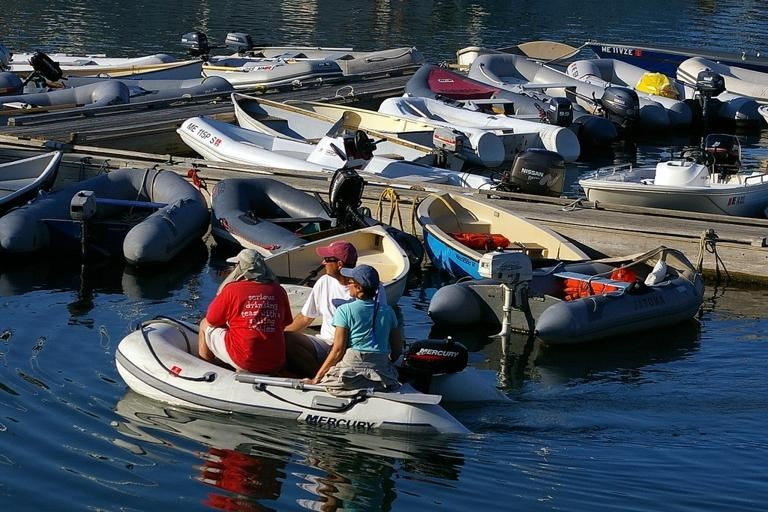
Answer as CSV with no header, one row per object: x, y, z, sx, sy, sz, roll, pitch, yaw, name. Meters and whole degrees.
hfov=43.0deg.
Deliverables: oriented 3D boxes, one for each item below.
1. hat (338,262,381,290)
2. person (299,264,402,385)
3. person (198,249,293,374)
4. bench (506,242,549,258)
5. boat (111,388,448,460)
-0.211,0.216,10.368,0.397,0.270,0.386,-3,20,-6,hat
-0.296,0.789,10.386,0.915,1.407,0.401,-3,27,-3,person
-1.523,0.634,10.628,1.040,1.465,0.476,1,27,4,person
2.079,-0.108,14.048,0.678,0.178,0.268,-1,9,-9,bench
-0.986,1.787,10.561,3.025,0.279,1.141,5,3,3,boat
